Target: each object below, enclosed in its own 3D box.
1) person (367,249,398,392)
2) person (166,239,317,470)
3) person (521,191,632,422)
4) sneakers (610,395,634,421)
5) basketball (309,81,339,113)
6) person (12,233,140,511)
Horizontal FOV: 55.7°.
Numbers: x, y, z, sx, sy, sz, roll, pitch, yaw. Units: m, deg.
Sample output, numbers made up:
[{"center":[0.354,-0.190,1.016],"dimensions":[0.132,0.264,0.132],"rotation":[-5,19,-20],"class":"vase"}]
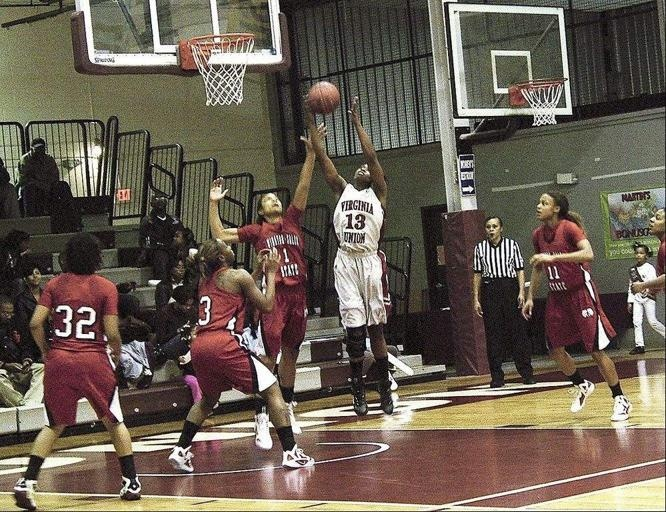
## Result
[{"center":[0.579,0.853,7.375],"dimensions":[0.129,1.933,0.204],"rotation":[-7,-6,19],"class":"person"},{"center":[-0.614,0.652,3.967],"dimensions":[0.905,1.234,0.390],"rotation":[-4,2,-3],"class":"person"},{"center":[1.955,0.432,5.095],"dimensions":[0.782,1.914,0.961],"rotation":[-3,2,17],"class":"person"},{"center":[2.258,1.189,4.931],"dimensions":[0.100,0.151,0.319],"rotation":[-5,-3,21],"class":"sneakers"},{"center":[-0.089,-1.414,5.627],"dimensions":[0.286,0.221,0.234],"rotation":[-5,2,-7],"class":"basketball"},{"center":[-1.465,0.643,3.542],"dimensions":[0.648,1.526,0.495],"rotation":[-4,2,-18],"class":"person"}]
